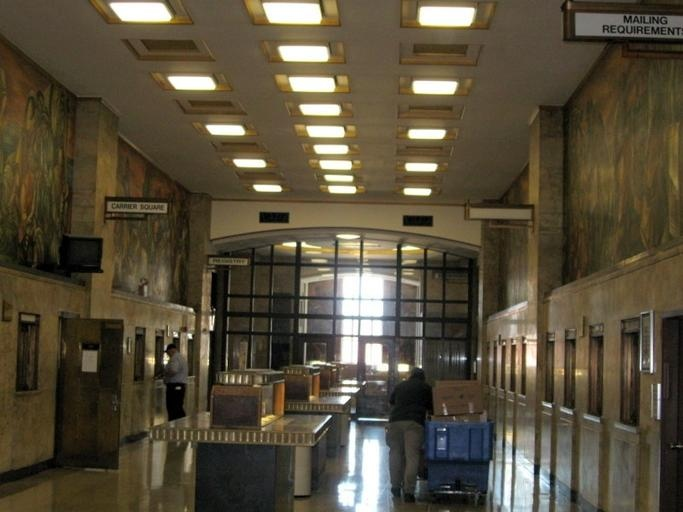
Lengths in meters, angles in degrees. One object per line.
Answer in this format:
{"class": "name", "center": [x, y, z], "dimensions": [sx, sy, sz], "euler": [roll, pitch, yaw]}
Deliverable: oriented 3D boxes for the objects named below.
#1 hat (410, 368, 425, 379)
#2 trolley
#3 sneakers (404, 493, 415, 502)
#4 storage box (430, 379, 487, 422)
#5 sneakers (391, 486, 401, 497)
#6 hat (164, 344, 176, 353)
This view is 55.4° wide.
{"class": "hat", "center": [1.356, 2.120, 11.854], "dimensions": [0.175, 0.252, 0.234], "euler": [16, -9, 22]}
{"class": "trolley", "center": [1.943, 3.383, 10.847], "dimensions": [1.235, 1.276, 1.063], "euler": [0, -4, 5]}
{"class": "sneakers", "center": [1.102, 3.908, 10.521], "dimensions": [0.182, 0.190, 0.104], "euler": [2, -23, -8]}
{"class": "storage box", "center": [2.015, 2.529, 11.580], "dimensions": [0.720, 0.488, 0.730], "euler": [0, -4, 2]}
{"class": "sneakers", "center": [0.903, 3.917, 10.819], "dimensions": [0.091, 0.122, 0.117], "euler": [3, -6, -37]}
{"class": "hat", "center": [-4.454, 2.406, 16.818], "dimensions": [0.323, 0.210, 0.252], "euler": [7, 2, 25]}
